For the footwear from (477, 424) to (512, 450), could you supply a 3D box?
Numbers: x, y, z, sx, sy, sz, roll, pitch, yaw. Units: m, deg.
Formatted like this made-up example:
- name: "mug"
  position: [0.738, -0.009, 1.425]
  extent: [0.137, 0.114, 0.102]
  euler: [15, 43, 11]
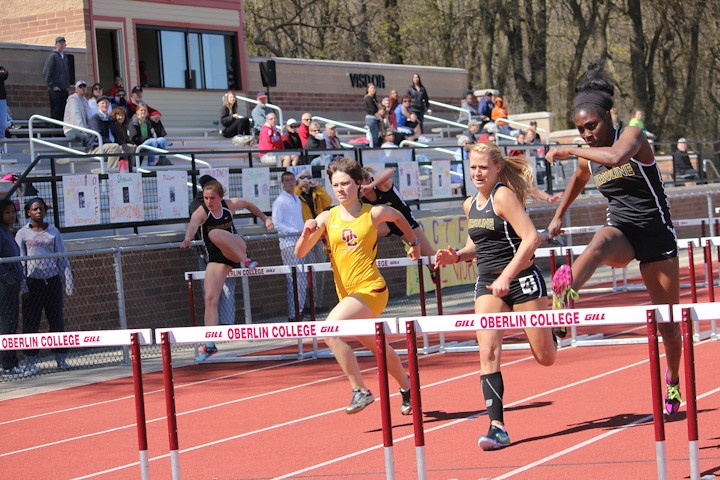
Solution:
- name: "footwear"
  position: [1.473, 2.170, 10.463]
  extent: [0.173, 0.225, 0.480]
  euler: [-8, -14, 43]

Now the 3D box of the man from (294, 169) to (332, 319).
- name: "man"
  position: [-0.981, -0.231, 18.592]
  extent: [0.760, 2.358, 0.627]
  euler: [6, 36, 8]

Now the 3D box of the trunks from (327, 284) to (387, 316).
- name: "trunks"
  position: [0.082, 0.691, 11.040]
  extent: [0.403, 0.307, 0.305]
  euler: [6, -19, -33]

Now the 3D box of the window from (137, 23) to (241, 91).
- name: "window"
  position: [-5.314, -5.520, 28.703]
  extent: [3.244, 1.629, 0.229]
  euler: [0, -5, -44]
